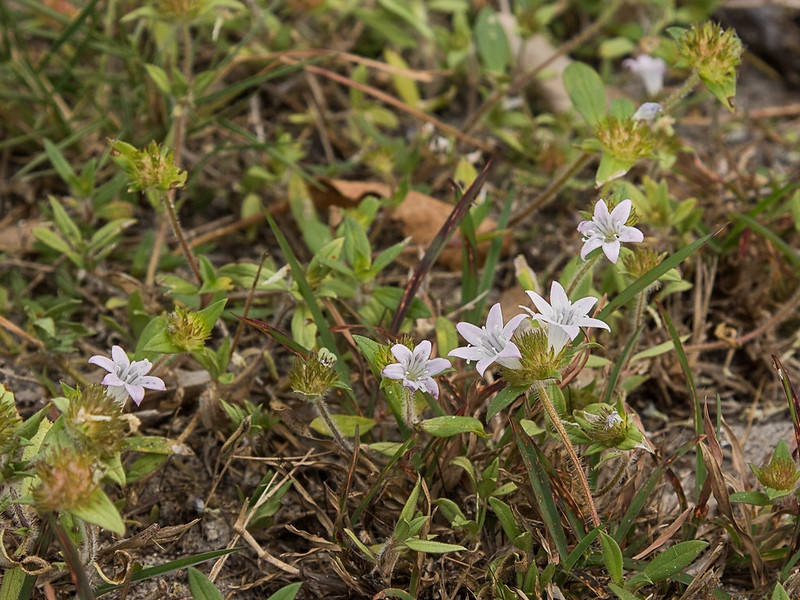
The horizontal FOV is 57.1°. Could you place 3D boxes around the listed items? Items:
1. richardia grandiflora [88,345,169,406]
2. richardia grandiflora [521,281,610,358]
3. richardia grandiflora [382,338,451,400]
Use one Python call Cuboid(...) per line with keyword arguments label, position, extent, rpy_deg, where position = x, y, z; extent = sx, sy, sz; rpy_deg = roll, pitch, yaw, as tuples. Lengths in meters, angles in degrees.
Cuboid(label="richardia grandiflora", position=(-0.995, 0.236, 2.647), extent=(0.271, 0.252, 0.123), rpy_deg=(-5, 88, 3))
Cuboid(label="richardia grandiflora", position=(0.571, 0.051, 2.616), extent=(0.266, 0.157, 0.267), rpy_deg=(5, 46, -12))
Cuboid(label="richardia grandiflora", position=(0.054, 0.262, 2.676), extent=(0.227, 0.212, 0.185), rpy_deg=(21, 57, 4))
